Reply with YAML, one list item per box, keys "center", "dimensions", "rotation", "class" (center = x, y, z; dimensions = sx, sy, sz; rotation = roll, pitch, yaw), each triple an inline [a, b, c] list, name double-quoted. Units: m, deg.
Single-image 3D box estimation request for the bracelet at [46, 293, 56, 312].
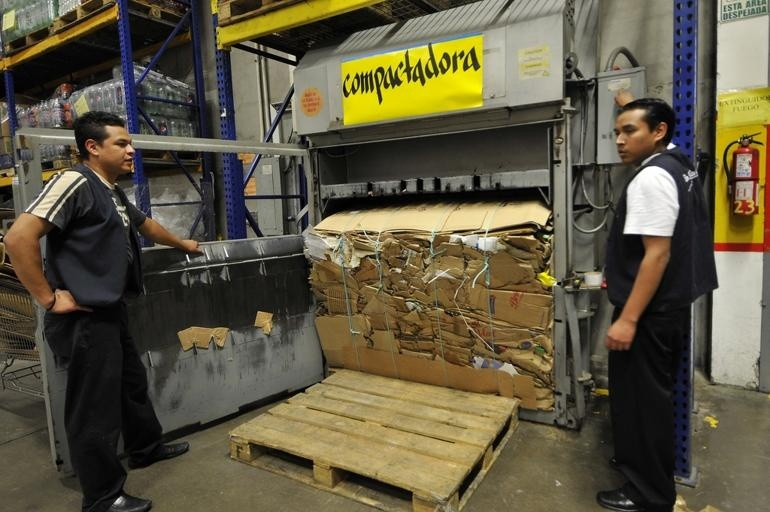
- center: [-2.491, 0.350, 4.322]
  dimensions: [0.062, 0.122, 0.061]
  rotation: [-6, 7, -32]
  class: "bracelet"
